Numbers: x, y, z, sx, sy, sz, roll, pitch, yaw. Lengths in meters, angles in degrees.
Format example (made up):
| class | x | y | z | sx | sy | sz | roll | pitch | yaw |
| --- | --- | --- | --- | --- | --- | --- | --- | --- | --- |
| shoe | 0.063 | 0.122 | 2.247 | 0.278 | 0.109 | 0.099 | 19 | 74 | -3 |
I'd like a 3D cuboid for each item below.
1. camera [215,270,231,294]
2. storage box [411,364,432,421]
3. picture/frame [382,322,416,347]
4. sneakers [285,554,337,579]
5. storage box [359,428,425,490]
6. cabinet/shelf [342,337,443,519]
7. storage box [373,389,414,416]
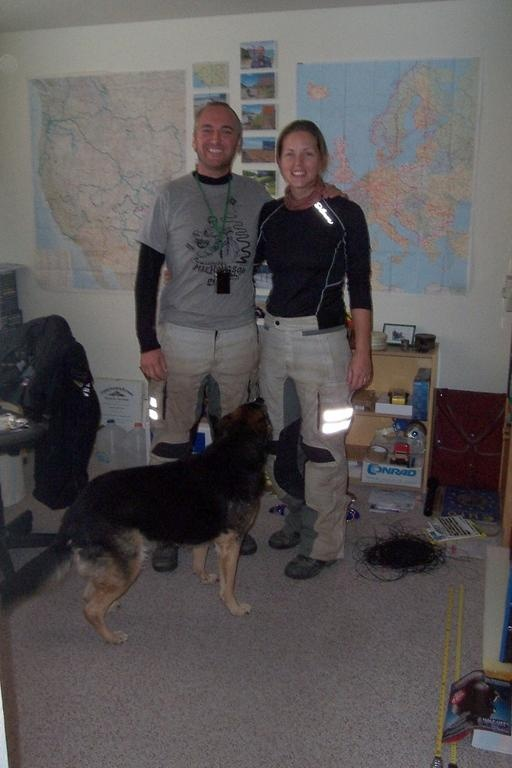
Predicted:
| class | x | y | z | sx | sy | sz | roll | pitch | yaw |
| --- | --- | --- | --- | --- | --- | --- | --- | --- | --- |
| camera | -0.094 | -0.292 | 1.720 | 0.046 | 0.075 | 0.030 | 2 | 12 | -12 |
| storage box | 0.750 | 0.070 | 2.832 | 0.087 | 0.235 | 0.271 | 5 | -13 | 9 |
| picture/frame | 0.683 | -0.233 | 2.871 | 0.117 | 0.083 | 0.009 | 14 | 3 | 26 |
| sneakers | 0.191 | 0.607 | 2.015 | 0.143 | 0.063 | 0.057 | 0 | 13 | -31 |
| storage box | 0.649 | 0.354 | 2.821 | 0.284 | 0.281 | 0.155 | 1 | -30 | 28 |
| cabinet/shelf | 0.623 | 0.198 | 2.655 | 0.726 | 0.674 | 0.238 | 4 | 9 | 13 |
| storage box | 0.645 | 0.095 | 2.822 | 0.195 | 0.111 | 0.181 | 8 | 12 | 18 |
